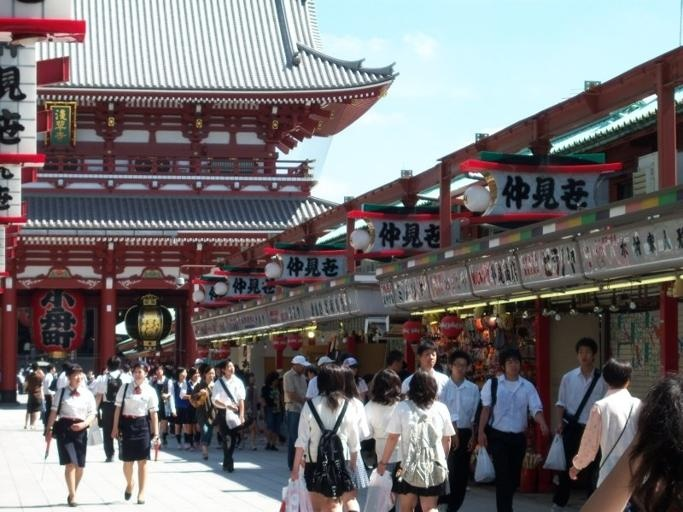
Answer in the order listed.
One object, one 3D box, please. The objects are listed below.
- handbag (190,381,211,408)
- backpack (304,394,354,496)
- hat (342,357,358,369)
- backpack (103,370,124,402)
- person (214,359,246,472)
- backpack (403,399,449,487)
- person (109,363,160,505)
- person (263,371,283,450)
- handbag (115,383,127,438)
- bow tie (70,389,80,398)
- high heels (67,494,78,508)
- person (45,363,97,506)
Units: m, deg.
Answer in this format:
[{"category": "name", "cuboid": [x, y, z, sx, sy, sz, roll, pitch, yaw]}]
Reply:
[{"category": "handbag", "cuboid": [-2.567, 2.511, 18.209, 0.174, 0.381, 0.309, 14, -17, -30]}, {"category": "backpack", "cuboid": [-0.080, 1.996, 10.500, 0.481, 0.933, 0.540, 0, 3, 5]}, {"category": "hat", "cuboid": [0.144, 1.442, 13.626, 0.245, 0.101, 0.326, 1, -1, 2]}, {"category": "backpack", "cuboid": [-4.177, 2.360, 18.314, 0.398, 0.524, 0.545, 2, 0, -8]}, {"category": "person", "cuboid": [-1.895, 2.635, 16.618, 0.531, 1.806, 0.566, 1, -4, -7]}, {"category": "backpack", "cuboid": [0.903, 1.981, 10.580, 0.480, 0.867, 0.505, 1, -3, 17]}, {"category": "person", "cuboid": [-2.877, 2.441, 13.842, 0.547, 1.886, 0.609, 1, -4, 0]}, {"category": "person", "cuboid": [-1.368, 3.082, 20.064, 0.397, 1.520, 0.661, 0, -4, 14]}, {"category": "handbag", "cuboid": [-3.052, 2.125, 13.743, 0.159, 0.755, 0.345, 1, -4, -1]}, {"category": "bow tie", "cuboid": [-3.682, 1.885, 13.718, 0.124, 0.117, 0.033, -15, -25, -21]}, {"category": "high heels", "cuboid": [-3.678, 3.316, 13.553, 0.144, 0.158, 0.414, 2, -13, -8]}, {"category": "person", "cuboid": [-3.781, 2.455, 13.882, 0.657, 1.869, 0.973, 2, -4, -16]}]
